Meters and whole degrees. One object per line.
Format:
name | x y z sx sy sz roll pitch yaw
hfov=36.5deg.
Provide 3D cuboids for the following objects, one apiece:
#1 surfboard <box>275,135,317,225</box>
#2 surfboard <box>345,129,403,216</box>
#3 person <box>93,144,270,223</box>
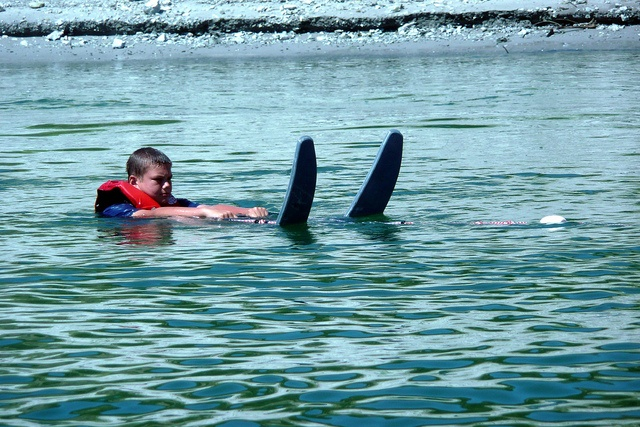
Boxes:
surfboard | -0.227 -0.355 10.989 0.466 1.039 0.241 -1 17 -36
surfboard | 0.681 -0.457 11.334 0.221 1.041 0.577 21 18 40
person | -1.661 -0.240 11.531 1.882 0.508 1.112 14 23 24
